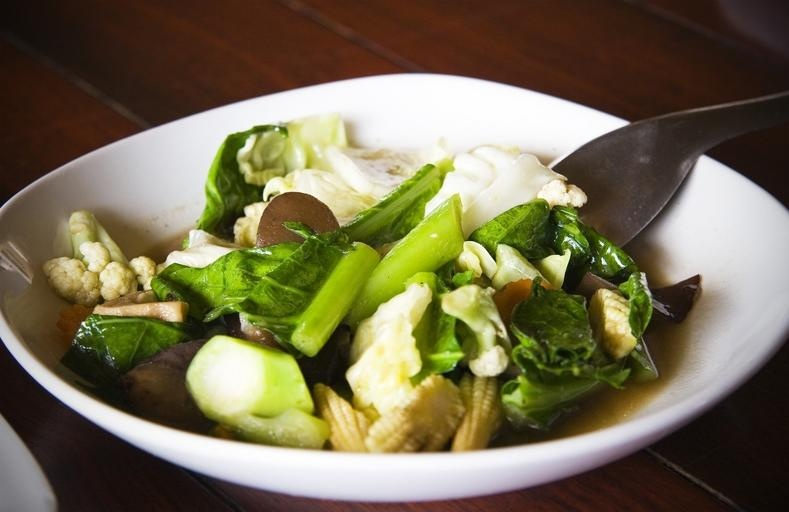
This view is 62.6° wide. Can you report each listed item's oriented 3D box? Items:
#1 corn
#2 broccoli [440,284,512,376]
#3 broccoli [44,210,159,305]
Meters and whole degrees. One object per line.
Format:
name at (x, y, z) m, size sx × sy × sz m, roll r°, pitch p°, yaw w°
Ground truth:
corn at (0.031, 0.273, 1.110) m, size 0.333 × 0.135 × 0.167 m, roll -1°, pitch 55°, yaw -7°
broccoli at (0.152, 0.134, 1.204) m, size 0.103 × 0.146 × 0.169 m, roll 3°, pitch 28°, yaw 2°
broccoli at (-0.653, 0.002, 1.480) m, size 0.258 × 0.192 × 0.173 m, roll 16°, pitch 27°, yaw 31°
